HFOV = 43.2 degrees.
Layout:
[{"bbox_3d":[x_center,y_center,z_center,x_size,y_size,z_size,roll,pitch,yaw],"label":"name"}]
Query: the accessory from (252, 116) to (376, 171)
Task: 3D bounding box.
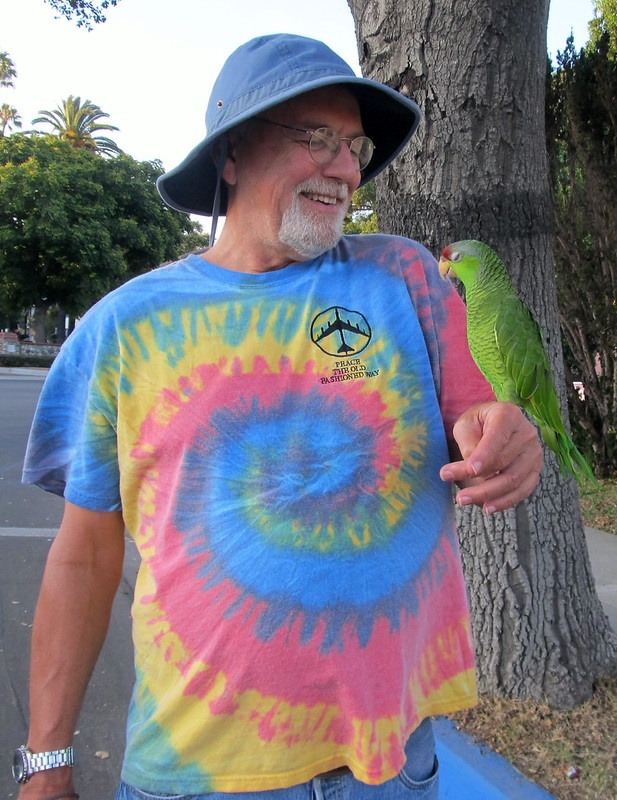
[{"bbox_3d":[0.056,-0.609,1.849,0.164,0.052,0.168,-8,30,-44],"label":"accessory"}]
